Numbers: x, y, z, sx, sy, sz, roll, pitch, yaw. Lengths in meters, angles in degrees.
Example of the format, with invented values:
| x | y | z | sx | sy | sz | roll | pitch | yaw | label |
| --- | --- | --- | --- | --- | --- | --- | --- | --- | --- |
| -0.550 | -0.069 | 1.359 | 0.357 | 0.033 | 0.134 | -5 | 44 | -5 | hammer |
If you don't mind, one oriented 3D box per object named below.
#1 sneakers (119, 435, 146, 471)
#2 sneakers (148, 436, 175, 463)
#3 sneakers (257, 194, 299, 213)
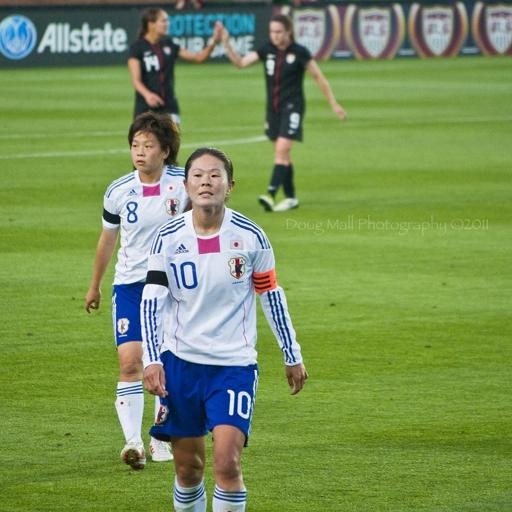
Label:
| x | y | z | sx | sy | sz | roll | pitch | yaw | label |
| --- | --- | --- | --- | --- | --- | --- | --- | --- | --- |
| -0.741 | 1.189 | 8.456 | 0.081 | 0.236 | 0.115 | -2 | 42 | -2 | sneakers |
| -0.585 | 1.197 | 8.727 | 0.083 | 0.111 | 0.239 | 1 | -2 | -18 | sneakers |
| 0.224 | -0.512 | 13.793 | 0.440 | 0.205 | 0.151 | 6 | 2 | -26 | sneakers |
